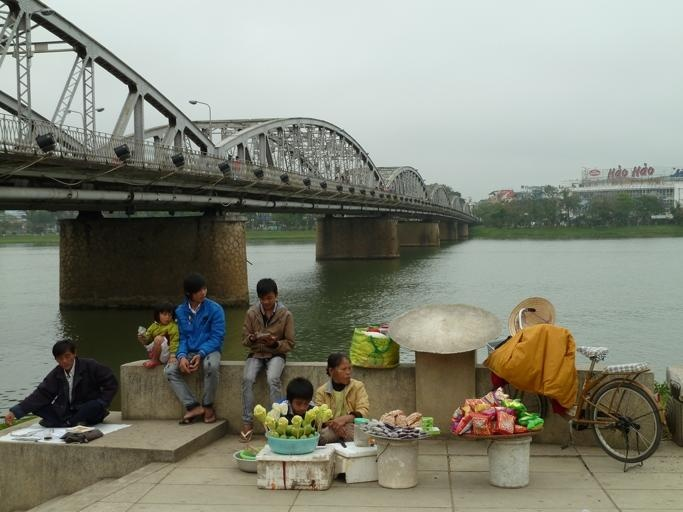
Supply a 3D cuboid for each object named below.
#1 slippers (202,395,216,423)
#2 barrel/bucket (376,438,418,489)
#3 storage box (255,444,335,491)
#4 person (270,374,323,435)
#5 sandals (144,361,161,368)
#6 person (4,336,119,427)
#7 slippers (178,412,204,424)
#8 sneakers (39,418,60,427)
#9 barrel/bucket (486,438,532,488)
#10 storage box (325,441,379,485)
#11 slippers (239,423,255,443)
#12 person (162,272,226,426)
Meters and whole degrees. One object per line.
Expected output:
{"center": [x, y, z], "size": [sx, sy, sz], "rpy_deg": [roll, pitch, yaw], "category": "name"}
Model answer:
{"center": [-1.784, 2.056, 10.175], "size": [0.199, 0.353, 0.148], "rpy_deg": [-2, 3, -31], "category": "slippers"}
{"center": [0.606, 2.343, 8.617], "size": [0.505, 0.497, 0.510], "rpy_deg": [0, -5, 0], "category": "barrel/bucket"}
{"center": [-0.543, 2.427, 8.513], "size": [0.832, 0.388, 0.173], "rpy_deg": [-1, 3, 2], "category": "storage box"}
{"center": [-0.530, 1.685, 9.091], "size": [0.800, 0.915, 0.505], "rpy_deg": [0, 1, -10], "category": "person"}
{"center": [-2.658, 1.495, 10.419], "size": [0.218, 0.108, 0.112], "rpy_deg": [-1, 2, -17], "category": "sandals"}
{"center": [-3.636, 1.816, 10.176], "size": [1.401, 1.296, 1.157], "rpy_deg": [-4, -4, 9], "category": "person"}
{"center": [-2.039, 2.165, 10.150], "size": [0.137, 0.063, 0.269], "rpy_deg": [-1, -2, 39], "category": "slippers"}
{"center": [-3.898, 2.189, 9.922], "size": [0.305, 0.122, 0.092], "rpy_deg": [0, 3, 27], "category": "sneakers"}
{"center": [1.862, 2.326, 8.589], "size": [0.515, 0.533, 0.524], "rpy_deg": [-1, -8, 0], "category": "barrel/bucket"}
{"center": [0.179, 2.442, 8.907], "size": [0.714, 0.335, 0.723], "rpy_deg": [2, -4, -3], "category": "storage box"}
{"center": [-1.255, 2.303, 9.833], "size": [0.139, 0.237, 0.273], "rpy_deg": [-1, 2, 0], "category": "slippers"}
{"center": [-2.014, 1.240, 10.261], "size": [0.732, 2.003, 0.461], "rpy_deg": [-1, 3, 2], "category": "person"}
